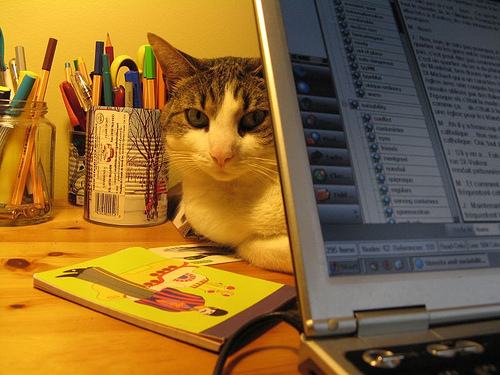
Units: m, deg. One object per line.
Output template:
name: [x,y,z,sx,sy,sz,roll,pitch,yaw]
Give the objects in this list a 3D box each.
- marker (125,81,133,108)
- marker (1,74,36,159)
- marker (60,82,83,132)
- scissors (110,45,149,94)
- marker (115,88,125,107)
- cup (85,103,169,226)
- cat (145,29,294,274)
marker: [-0.240,-0.184,0.803,0.015,0.049,0.022,0,14,-17]
marker: [-0.441,-0.144,0.802,0.041,0.203,0.024,20,6,-14]
marker: [-0.398,-0.183,0.902,0.019,0.131,0.016,-14,3,42]
scissors: [-0.253,-0.249,0.856,0.077,0.104,0.069,6,13,7]
marker: [-0.261,-0.180,0.811,0.018,0.035,0.018,-1,14,-19]
cup: [-0.194,-0.054,0.905,0.209,0.244,0.232,1,5,0]
cat: [-0.002,-0.095,0.946,0.338,0.480,0.524,1,17,2]
